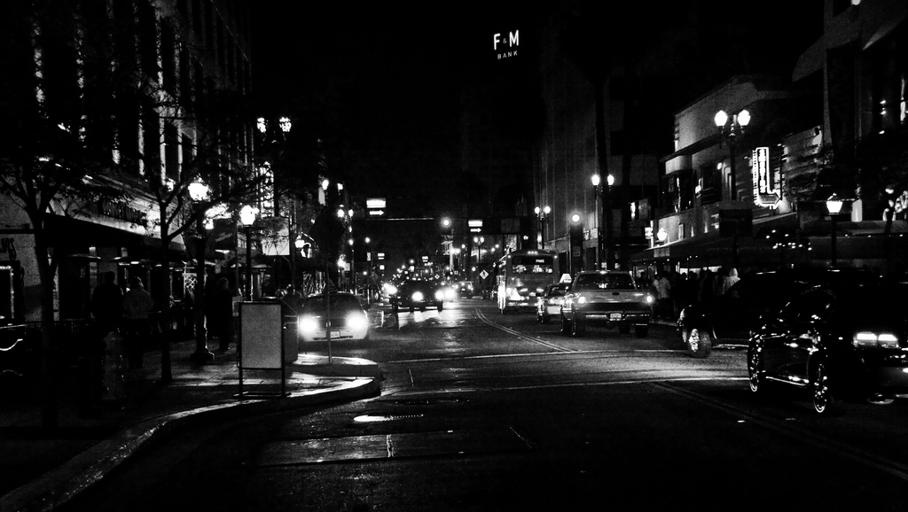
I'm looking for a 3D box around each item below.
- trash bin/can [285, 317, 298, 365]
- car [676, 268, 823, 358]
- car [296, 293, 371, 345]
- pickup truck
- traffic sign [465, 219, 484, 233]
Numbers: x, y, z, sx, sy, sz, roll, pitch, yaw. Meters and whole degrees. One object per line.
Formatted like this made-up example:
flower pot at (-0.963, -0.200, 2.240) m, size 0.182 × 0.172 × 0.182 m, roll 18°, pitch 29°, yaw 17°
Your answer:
trash bin/can at (-5.003, 2.571, 27.691) m, size 0.367 × 1.483 × 0.765 m, roll -2°, pitch -7°, yaw -11°
car at (8.714, 1.662, 27.771) m, size 3.336 × 2.999 × 7.042 m, roll 2°, pitch -2°, yaw -14°
car at (-4.759, 2.131, 34.424) m, size 2.582 × 2.002 × 5.395 m, roll -3°, pitch -8°, yaw -1°
pickup truck at (6.280, 2.056, 37.516) m, size 3.208 × 2.831 × 7.845 m, roll 0°, pitch -2°, yaw 2°
traffic sign at (2.057, -3.542, 101.077) m, size 1.710 × 1.459 × 0.394 m, roll 3°, pitch 1°, yaw -41°
